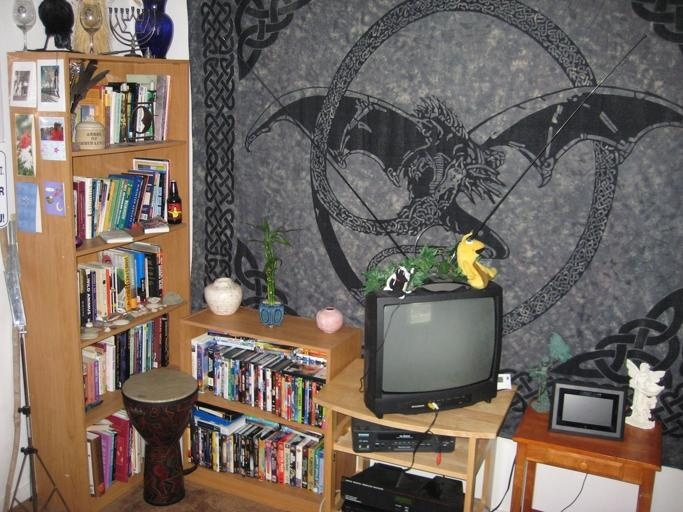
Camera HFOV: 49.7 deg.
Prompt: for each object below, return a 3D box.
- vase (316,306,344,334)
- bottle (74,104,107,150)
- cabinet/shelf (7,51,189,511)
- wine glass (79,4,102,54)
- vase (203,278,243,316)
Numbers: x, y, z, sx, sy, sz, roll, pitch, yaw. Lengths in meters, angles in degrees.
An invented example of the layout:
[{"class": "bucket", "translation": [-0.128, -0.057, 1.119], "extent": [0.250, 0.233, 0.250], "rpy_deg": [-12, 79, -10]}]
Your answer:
[{"class": "vase", "translation": [-0.060, 0.372, 4.236], "extent": [0.140, 0.116, 0.147], "rpy_deg": [0, 0, 4]}, {"class": "bottle", "translation": [-1.334, -0.688, 3.930], "extent": [0.157, 0.245, 0.214], "rpy_deg": [3, 7, -20]}, {"class": "cabinet/shelf", "translation": [-1.387, 0.114, 4.189], "extent": [0.547, 2.561, 0.914], "rpy_deg": [9, 8, 25]}, {"class": "wine glass", "translation": [-1.341, -1.237, 3.928], "extent": [0.111, 0.284, 0.296], "rpy_deg": [3, 7, -21]}, {"class": "vase", "translation": [-0.711, 0.216, 4.441], "extent": [0.211, 0.212, 0.248], "rpy_deg": [-3, 14, -14]}]
